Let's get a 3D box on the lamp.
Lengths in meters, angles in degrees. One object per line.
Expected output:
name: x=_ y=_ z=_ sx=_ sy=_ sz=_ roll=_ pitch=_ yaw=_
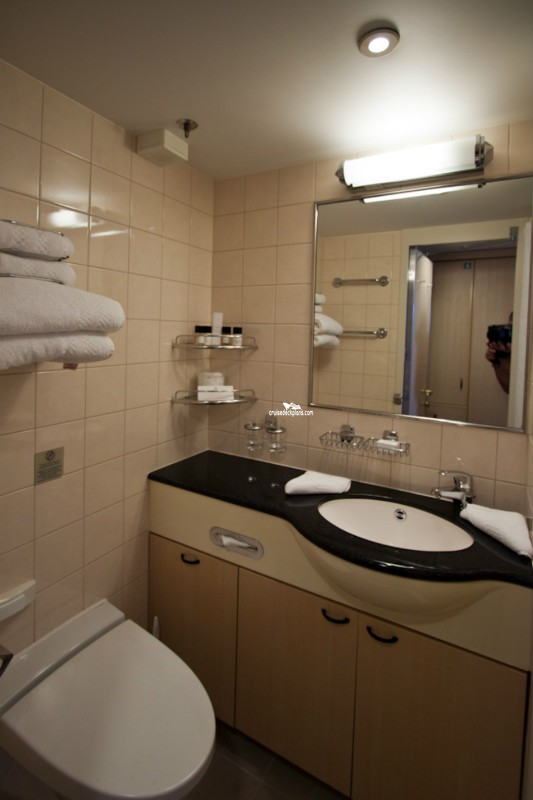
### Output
lamp: x=0.445 y=-0.715 z=1.754 sx=0.426 sy=0.118 sz=0.114 roll=8 pitch=7 yaw=29

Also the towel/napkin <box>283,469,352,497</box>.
towel/napkin: x=0.171 y=0.287 z=1.892 sx=0.186 sy=0.045 sz=0.242 roll=7 pitch=7 yaw=24

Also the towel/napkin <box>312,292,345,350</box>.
towel/napkin: x=0.212 y=-0.285 z=2.059 sx=0.058 sy=0.166 sz=0.157 roll=-5 pitch=19 yaw=29

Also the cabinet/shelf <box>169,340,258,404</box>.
cabinet/shelf: x=-0.201 y=-0.111 z=2.203 sx=0.253 sy=0.288 sz=0.314 roll=7 pitch=7 yaw=26
